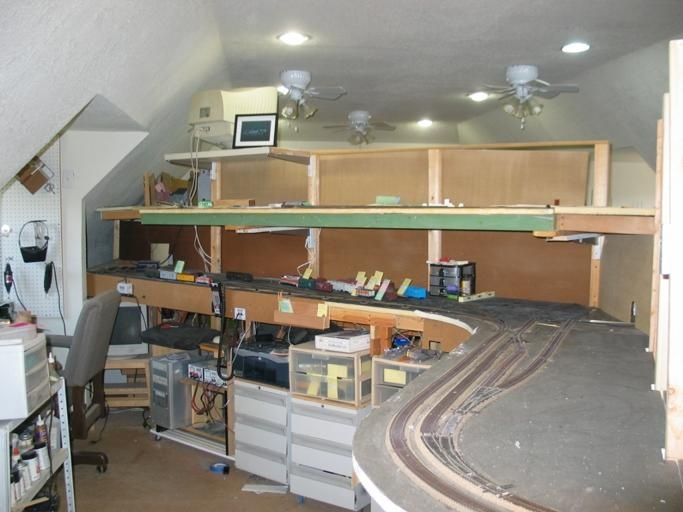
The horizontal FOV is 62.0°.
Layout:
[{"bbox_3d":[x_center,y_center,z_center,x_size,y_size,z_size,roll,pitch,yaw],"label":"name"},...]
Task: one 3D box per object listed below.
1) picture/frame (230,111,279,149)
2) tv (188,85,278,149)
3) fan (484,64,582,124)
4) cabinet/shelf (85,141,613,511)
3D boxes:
[{"bbox_3d":[-0.689,-0.985,4.459,0.504,0.349,0.041,1,0,11],"label":"picture/frame"},{"bbox_3d":[-0.902,-1.054,4.782,0.703,0.436,0.494,4,5,27],"label":"tv"},{"bbox_3d":[1.680,-1.467,5.106,0.659,0.282,0.603,-1,9,-4],"label":"fan"},{"bbox_3d":[0.139,-0.161,4.002,3.192,1.283,1.221,2,11,28],"label":"cabinet/shelf"}]
